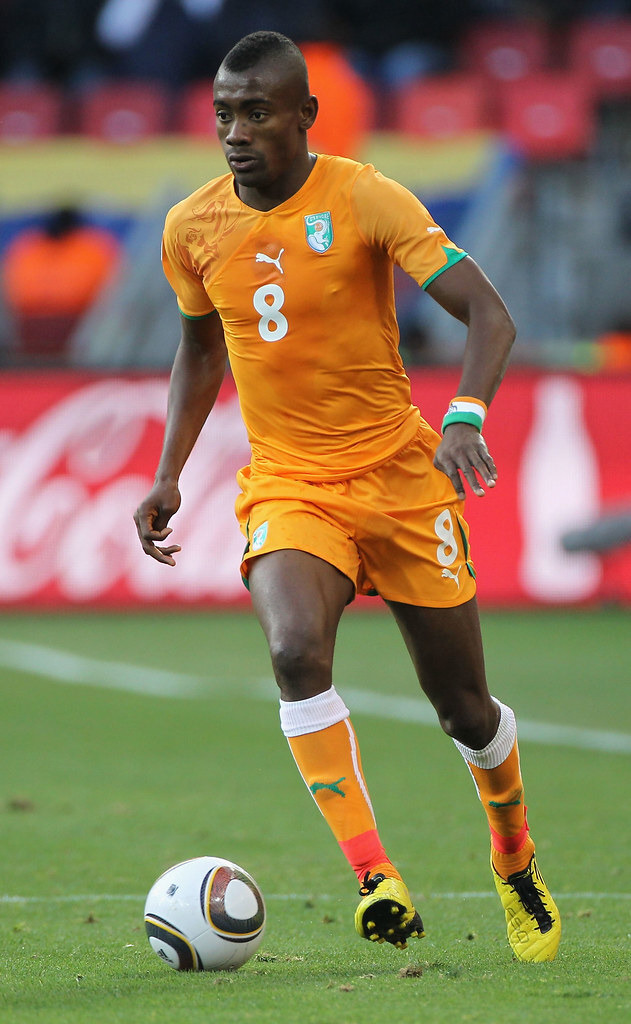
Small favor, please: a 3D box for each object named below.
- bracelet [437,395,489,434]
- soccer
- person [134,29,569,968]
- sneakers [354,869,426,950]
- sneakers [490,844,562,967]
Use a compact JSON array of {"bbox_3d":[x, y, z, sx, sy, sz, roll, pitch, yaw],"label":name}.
[{"bbox_3d":[0.283,-0.185,2.022,0.087,0.058,0.072,5,0,5],"label":"bracelet"},{"bbox_3d":[-0.221,0.803,2.111,0.231,0.201,0.142,0,-12,-7],"label":"soccer"},{"bbox_3d":[-0.005,-0.061,2.288,0.911,2.036,0.901,-4,-12,10],"label":"person"},{"bbox_3d":[0.156,0.736,1.961,0.075,0.192,0.101,-23,59,3],"label":"sneakers"},{"bbox_3d":[0.476,0.885,2.378,0.092,0.092,0.227,-15,52,3],"label":"sneakers"}]
